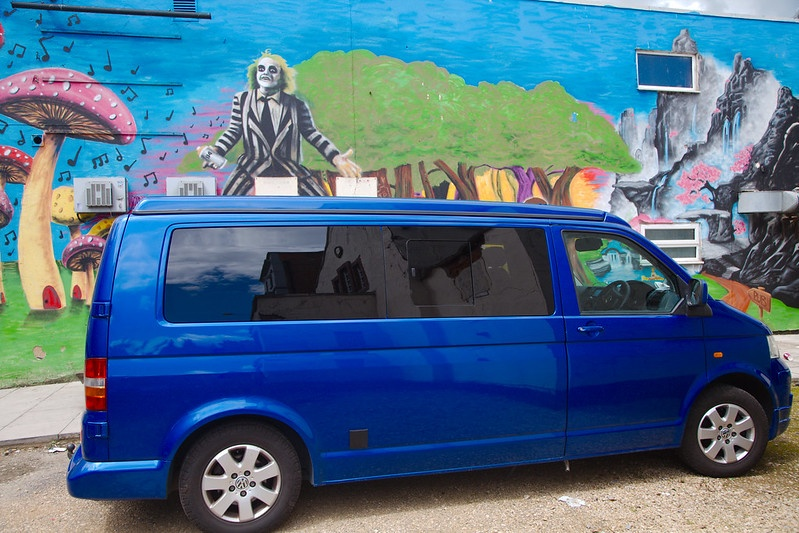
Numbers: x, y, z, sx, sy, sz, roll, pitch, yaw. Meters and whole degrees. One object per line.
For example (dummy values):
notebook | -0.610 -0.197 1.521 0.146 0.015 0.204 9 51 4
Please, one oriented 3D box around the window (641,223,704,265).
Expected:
window | 4.850 -0.428 11.509 1.173 0.633 0.106 0 -3 -11

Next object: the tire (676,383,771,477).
tire | 3.769 1.906 7.545 1.030 0.889 0.328 -25 10 1
